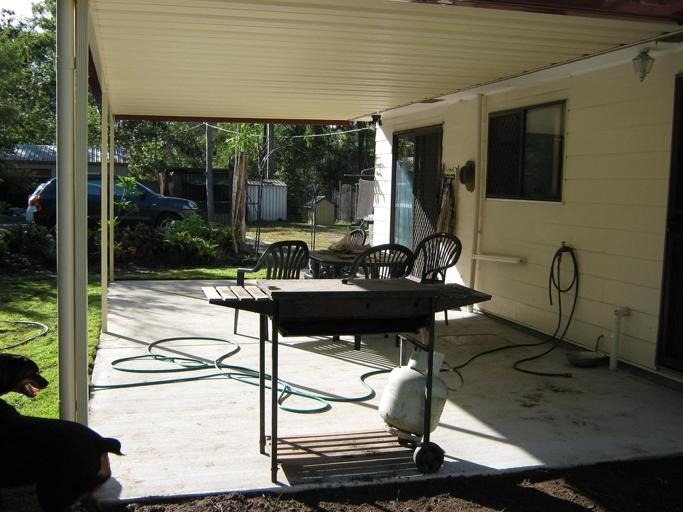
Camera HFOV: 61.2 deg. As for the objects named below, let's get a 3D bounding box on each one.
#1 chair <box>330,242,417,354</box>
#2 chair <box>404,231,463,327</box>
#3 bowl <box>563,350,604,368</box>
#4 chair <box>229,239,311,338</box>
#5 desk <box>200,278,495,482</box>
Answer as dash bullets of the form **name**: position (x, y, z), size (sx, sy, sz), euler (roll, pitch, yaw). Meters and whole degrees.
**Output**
- **chair**: position (0.369, 0.328, 6.338), size (1.028, 1.284, 1.028), euler (-4, 13, -16)
- **chair**: position (0.963, 0.298, 6.569), size (0.675, 1.029, 0.798), euler (3, 11, 35)
- **bowl**: position (2.361, 0.994, 5.574), size (0.366, 0.106, 0.226), euler (-2, 9, -27)
- **chair**: position (-0.632, 0.364, 5.844), size (0.674, 0.977, 0.790), euler (4, 5, 18)
- **desk**: position (0.014, 0.777, 3.614), size (1.693, 1.080, 0.704), euler (1, -2, -12)
